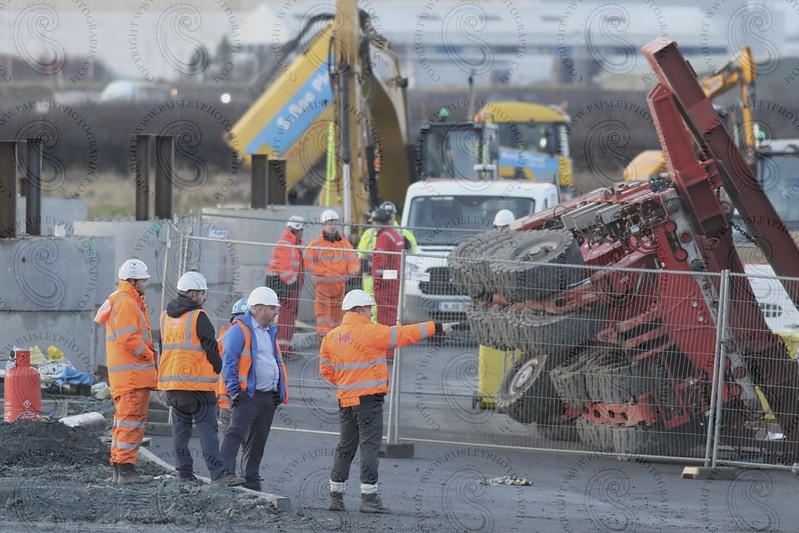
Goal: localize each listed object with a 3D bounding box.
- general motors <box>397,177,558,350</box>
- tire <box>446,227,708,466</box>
[{"bbox_3d":[1.025,-0.493,36.526,1.909,2.177,3.624,1,1,10],"label":"general motors"},{"bbox_3d":[3.192,1.281,32.621,3.577,3.749,1.572,3,38,40],"label":"tire"}]
